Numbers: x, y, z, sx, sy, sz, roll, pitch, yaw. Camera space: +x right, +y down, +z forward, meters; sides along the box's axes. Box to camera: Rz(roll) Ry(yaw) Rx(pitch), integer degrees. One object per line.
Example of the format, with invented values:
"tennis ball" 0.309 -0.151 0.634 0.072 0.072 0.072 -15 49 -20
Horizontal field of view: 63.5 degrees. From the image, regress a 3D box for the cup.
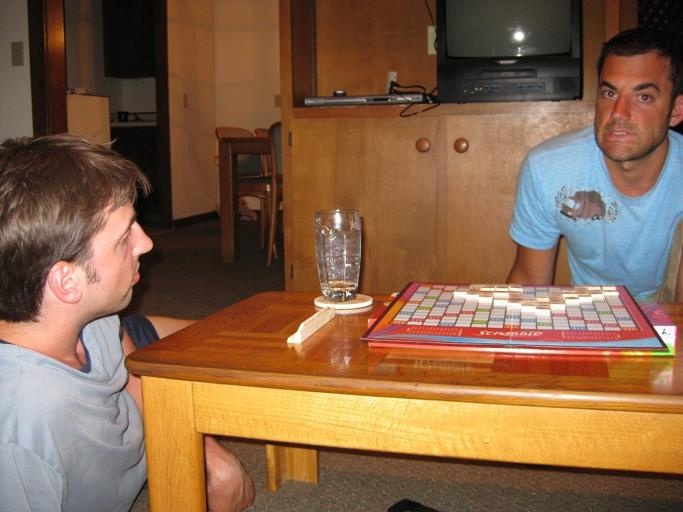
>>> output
"cup" -0.011 -0.007 1.154 0.107 0.173 0.139 5 13 28
